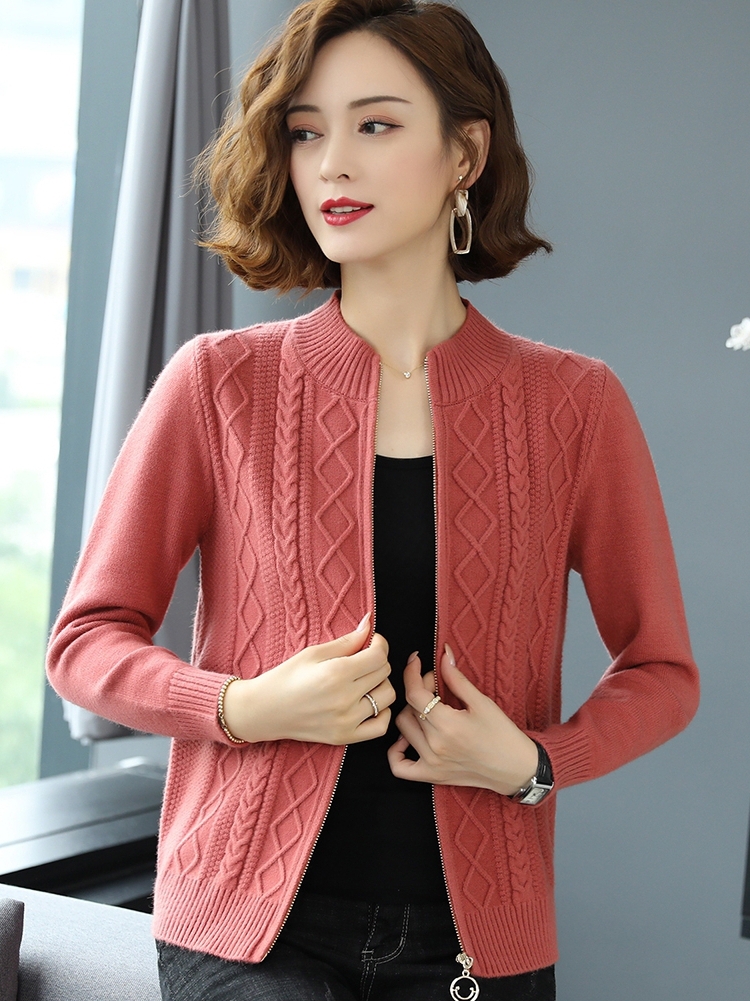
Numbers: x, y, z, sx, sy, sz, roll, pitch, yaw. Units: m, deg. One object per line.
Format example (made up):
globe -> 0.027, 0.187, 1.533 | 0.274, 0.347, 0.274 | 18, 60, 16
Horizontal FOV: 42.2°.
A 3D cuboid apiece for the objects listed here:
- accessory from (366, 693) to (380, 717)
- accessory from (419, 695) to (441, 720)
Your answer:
accessory -> -0.003, 0.218, 1.042 | 0.010, 0.023, 0.020 | -8, -2, 32
accessory -> 0.059, 0.224, 1.060 | 0.010, 0.024, 0.022 | 38, 59, 15
